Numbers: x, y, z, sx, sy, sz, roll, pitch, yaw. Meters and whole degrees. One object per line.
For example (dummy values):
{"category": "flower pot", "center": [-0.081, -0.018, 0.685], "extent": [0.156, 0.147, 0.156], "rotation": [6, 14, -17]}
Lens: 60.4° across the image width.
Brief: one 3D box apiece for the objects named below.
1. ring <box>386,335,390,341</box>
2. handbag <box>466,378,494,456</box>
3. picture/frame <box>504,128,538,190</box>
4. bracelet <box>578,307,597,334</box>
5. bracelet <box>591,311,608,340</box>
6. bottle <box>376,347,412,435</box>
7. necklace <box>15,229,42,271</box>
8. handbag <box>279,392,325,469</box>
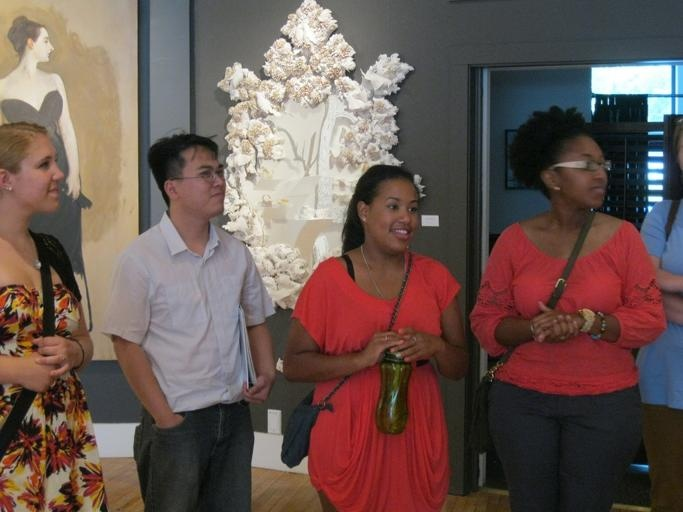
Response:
{"category": "ring", "center": [0.170, 0.303, 2.179], "extent": [0.015, 0.021, 0.010], "rotation": [-2, 2, 5]}
{"category": "handbag", "center": [0.633, 0.686, 2.609], "extent": [0.104, 0.361, 0.088], "rotation": [1, 15, -11]}
{"category": "picture/frame", "center": [2.243, -1.240, 7.538], "extent": [0.583, 0.776, 0.031], "rotation": [-10, 11, -42]}
{"category": "bracelet", "center": [0.958, 0.254, 2.290], "extent": [0.058, 0.092, 0.095], "rotation": [8, 29, 22]}
{"category": "bracelet", "center": [1.004, 0.284, 2.310], "extent": [0.034, 0.089, 0.079], "rotation": [-1, 6, -5]}
{"category": "bottle", "center": [0.215, 0.508, 2.219], "extent": [0.157, 0.312, 0.093], "rotation": [-3, 3, -33]}
{"category": "necklace", "center": [-1.244, -0.024, 2.353], "extent": [0.079, 0.152, 0.031], "rotation": [-13, -15, 3]}
{"category": "handbag", "center": [-0.212, 0.728, 2.460], "extent": [0.093, 0.291, 0.212], "rotation": [13, -2, 29]}
